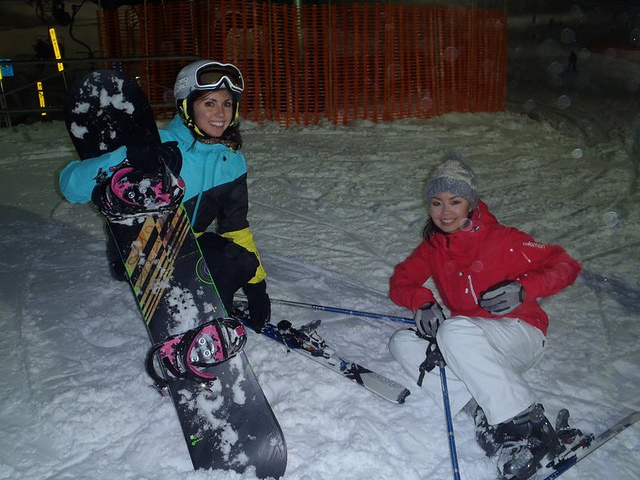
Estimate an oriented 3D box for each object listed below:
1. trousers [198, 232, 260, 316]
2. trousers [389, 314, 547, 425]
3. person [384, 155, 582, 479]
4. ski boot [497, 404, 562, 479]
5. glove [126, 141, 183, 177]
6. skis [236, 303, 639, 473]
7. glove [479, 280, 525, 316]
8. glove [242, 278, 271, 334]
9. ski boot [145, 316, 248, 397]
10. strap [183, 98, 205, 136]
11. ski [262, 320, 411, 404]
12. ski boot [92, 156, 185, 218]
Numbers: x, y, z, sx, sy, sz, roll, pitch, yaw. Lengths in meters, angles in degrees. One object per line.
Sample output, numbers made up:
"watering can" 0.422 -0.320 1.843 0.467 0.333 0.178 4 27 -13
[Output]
"trousers" -0.632 0.198 3.821 0.432 0.578 0.502 -7 23 -34
"trousers" 0.922 0.825 3.171 0.871 0.721 0.623 7 20 20
"person" 1.097 0.379 3.242 0.872 1.725 1.398 -11 22 -28
"ski boot" 1.218 1.179 2.853 0.334 0.414 0.209 2 19 7
"glove" -1.067 -0.562 3.320 0.427 0.235 0.323 2 24 22
"skis" 0.737 0.994 3.225 1.743 0.195 0.183 29 25 20
"glove" 1.169 0.379 3.163 0.271 0.246 0.098 1 19 2
"glove" -0.457 0.486 3.737 0.140 0.078 0.497 10 32 -20
"ski boot" -0.746 0.727 3.176 0.625 0.351 0.277 -22 -7 -6
"strap" -0.891 -0.878 3.493 0.173 0.201 0.092 -12 1 -10
"ski" 0.027 0.755 3.592 1.481 0.287 0.261 19 12 40
"ski boot" -1.152 -0.332 3.177 0.514 0.332 0.275 -7 -13 -18
